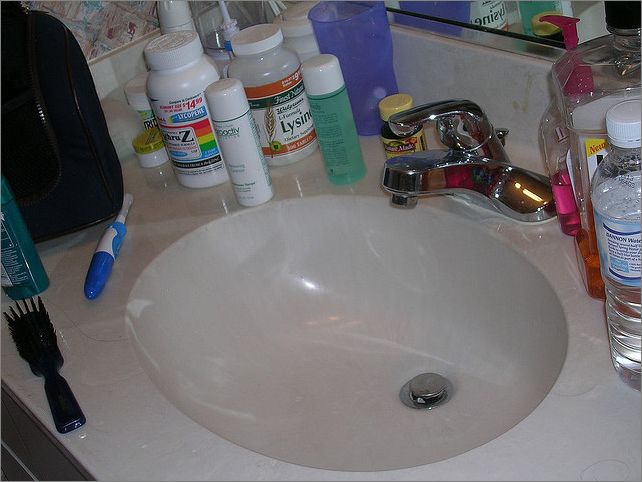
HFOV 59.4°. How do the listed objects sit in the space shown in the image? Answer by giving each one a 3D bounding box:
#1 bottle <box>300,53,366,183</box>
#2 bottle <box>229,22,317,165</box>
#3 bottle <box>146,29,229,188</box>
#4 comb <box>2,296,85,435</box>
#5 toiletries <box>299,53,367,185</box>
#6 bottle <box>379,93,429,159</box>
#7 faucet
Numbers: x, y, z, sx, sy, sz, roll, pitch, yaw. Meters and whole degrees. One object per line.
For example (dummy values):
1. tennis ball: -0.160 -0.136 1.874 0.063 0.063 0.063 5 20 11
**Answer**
1. bottle: 0.019 -0.167 0.839 0.061 0.211 0.079 -4 31 16
2. bottle: -0.075 -0.218 0.880 0.105 0.198 0.114 -12 24 5
3. bottle: -0.203 -0.202 0.868 0.106 0.214 0.113 -6 33 4
4. comb: -0.326 0.138 0.657 0.050 0.077 0.204 -27 32 -26
5. toiletries: 0.018 -0.177 0.816 0.060 0.185 0.061 -38 38 -29
6. bottle: 0.112 -0.148 0.819 0.069 0.094 0.073 1 36 -1
7. faucet: 0.196 -0.114 0.722 0.199 0.136 0.247 3 16 6
